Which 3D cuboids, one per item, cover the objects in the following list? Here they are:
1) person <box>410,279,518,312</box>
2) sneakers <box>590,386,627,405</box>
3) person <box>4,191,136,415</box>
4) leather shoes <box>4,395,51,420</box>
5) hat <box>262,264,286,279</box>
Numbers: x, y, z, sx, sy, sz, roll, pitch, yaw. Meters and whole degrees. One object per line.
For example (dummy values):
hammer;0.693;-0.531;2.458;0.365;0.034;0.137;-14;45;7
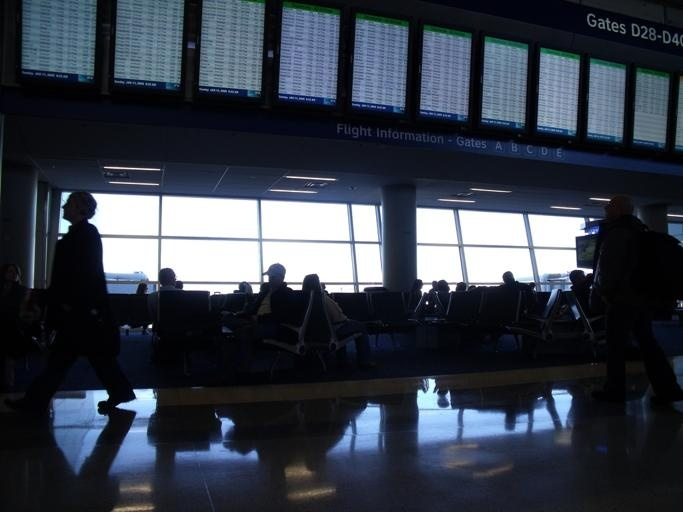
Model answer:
person;1.816;0.678;10.202;0.849;0.434;1.133;0;-3;-10
sneakers;2.493;1.271;5.593;0.157;0.215;0.249;2;1;-35
person;-2.341;0.397;5.351;0.941;1.932;0.349;-1;1;-18
leather shoes;-2.713;1.280;5.187;0.488;0.165;0.299;0;1;1
hat;-0.809;0.191;7.169;0.233;0.120;0.162;5;0;12
